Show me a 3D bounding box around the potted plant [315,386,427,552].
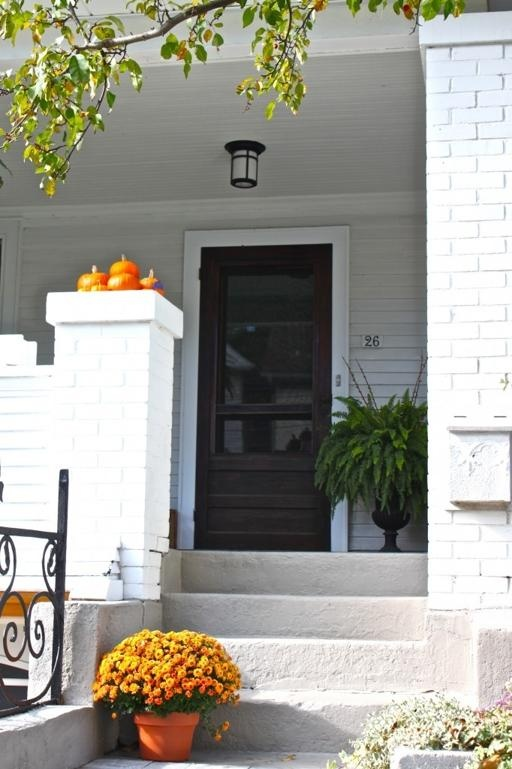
[{"bbox_3d":[0.600,0.382,6.557,0.561,0.851,0.463,-1,0,-12],"label":"potted plant"}]

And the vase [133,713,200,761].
[{"bbox_3d":[-0.326,1.251,4.581,0.235,0.175,0.260,0,-7,-8],"label":"vase"}]

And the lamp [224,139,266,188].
[{"bbox_3d":[-0.064,-1.194,6.956,0.214,0.245,0.192,-2,-1,-26],"label":"lamp"}]

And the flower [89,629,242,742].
[{"bbox_3d":[-0.333,1.063,4.665,0.535,0.326,0.328,1,-6,-2],"label":"flower"}]

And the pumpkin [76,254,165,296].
[{"bbox_3d":[-0.614,-0.455,5.723,0.387,0.274,0.341,-1,-1,13],"label":"pumpkin"}]
